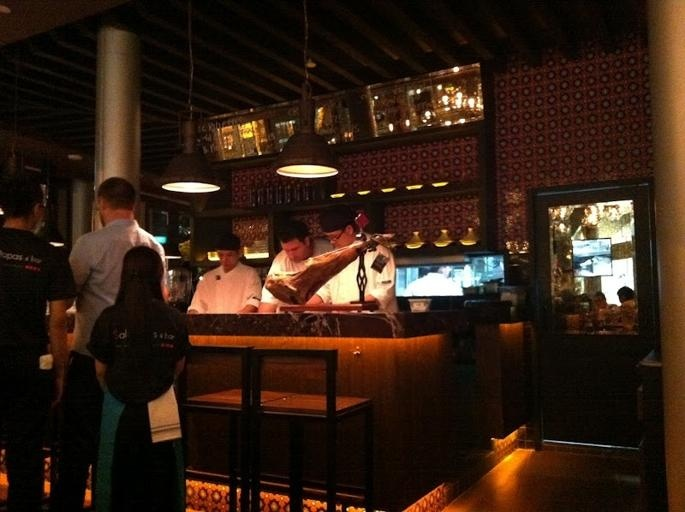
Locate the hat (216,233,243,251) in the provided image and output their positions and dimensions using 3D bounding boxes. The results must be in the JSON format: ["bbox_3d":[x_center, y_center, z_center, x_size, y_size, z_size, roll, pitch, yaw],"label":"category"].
[{"bbox_3d":[-1.032,-0.118,6.029,0.174,0.130,0.169,2,-4,-26],"label":"hat"}]

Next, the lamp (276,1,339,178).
[{"bbox_3d":[-0.303,-1.316,5.163,0.424,1.531,1.473,-1,-3,-5],"label":"lamp"}]

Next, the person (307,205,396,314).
[{"bbox_3d":[0.014,0.030,5.018,0.552,0.465,0.730,-11,44,-14],"label":"person"}]

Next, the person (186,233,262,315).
[{"bbox_3d":[-1.110,0.253,6.245,0.674,0.867,0.495,-2,-2,-3],"label":"person"}]

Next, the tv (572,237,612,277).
[{"bbox_3d":[2.303,0.017,6.186,0.368,0.386,0.030,-2,-9,30],"label":"tv"}]

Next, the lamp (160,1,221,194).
[{"bbox_3d":[-1.309,-1.257,5.824,0.442,1.550,1.870,-1,-3,-12],"label":"lamp"}]

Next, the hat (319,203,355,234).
[{"bbox_3d":[-0.047,-0.284,5.084,0.249,0.187,0.181,2,2,5],"label":"hat"}]
